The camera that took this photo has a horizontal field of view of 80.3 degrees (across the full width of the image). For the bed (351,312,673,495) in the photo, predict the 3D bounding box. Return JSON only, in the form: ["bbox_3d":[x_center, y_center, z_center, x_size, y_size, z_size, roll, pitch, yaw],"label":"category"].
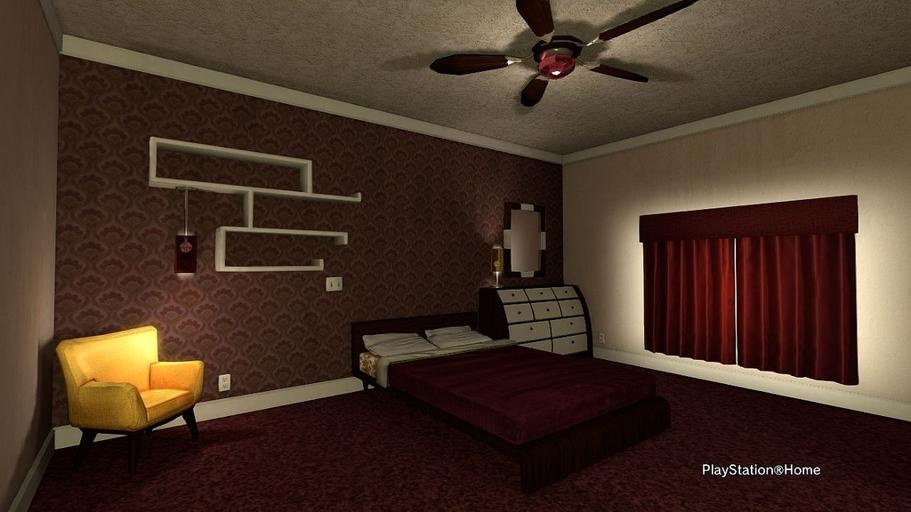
[{"bbox_3d":[0.483,1.749,6.974,2.026,0.712,2.460,-1,-1,-35],"label":"bed"}]

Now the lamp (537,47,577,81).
[{"bbox_3d":[1.164,-2.222,6.232,0.383,0.165,0.341,-2,4,-9],"label":"lamp"}]

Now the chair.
[{"bbox_3d":[-4.033,1.739,7.191,1.744,1.961,1.854,-2,-3,9],"label":"chair"}]
